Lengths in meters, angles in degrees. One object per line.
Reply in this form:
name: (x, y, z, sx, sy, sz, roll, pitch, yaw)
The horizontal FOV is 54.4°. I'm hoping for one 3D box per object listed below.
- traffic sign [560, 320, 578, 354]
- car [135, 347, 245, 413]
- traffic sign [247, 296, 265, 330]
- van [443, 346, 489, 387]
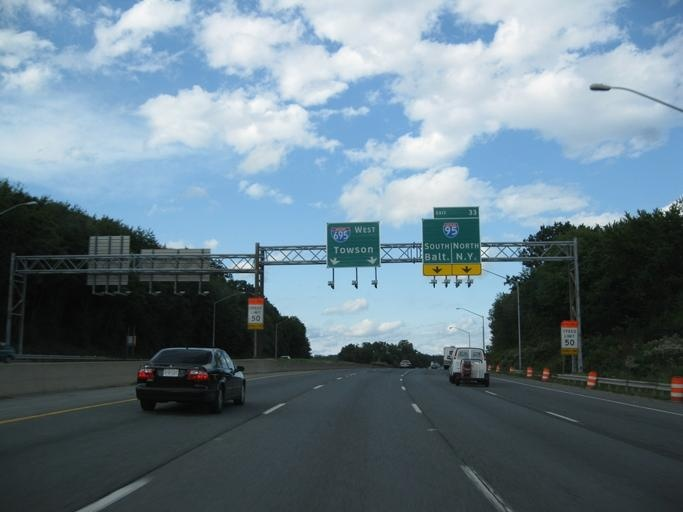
traffic sign: (14.290, 5.081, 41.673, 1.108, 2.053, 0.957, -2, -7, 8)
car: (-4.144, 3.515, 18.962, 1.702, 1.825, 3.185, -4, -9, 23)
traffic sign: (-6.352, 4.158, 49.198, 1.012, 2.368, 2.004, 0, -8, -5)
van: (6.796, 5.884, 35.312, 1.893, 1.992, 0.763, -5, -8, 24)
